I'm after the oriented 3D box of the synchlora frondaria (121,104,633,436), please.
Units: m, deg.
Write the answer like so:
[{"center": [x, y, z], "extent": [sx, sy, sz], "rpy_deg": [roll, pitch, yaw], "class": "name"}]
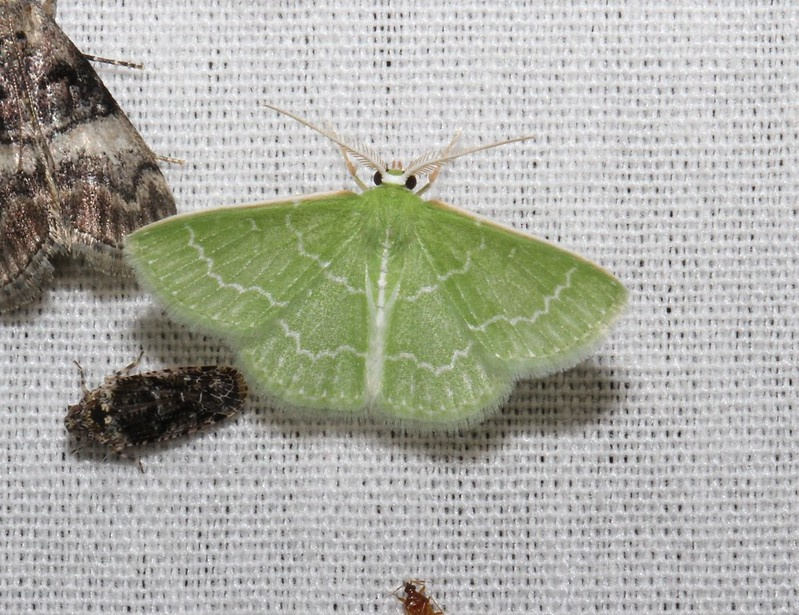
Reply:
[{"center": [-0.074, -0.056, 4.813], "extent": [1.736, 0.439, 0.873], "rpy_deg": [8, 78, -2], "class": "synchlora frondaria"}]
